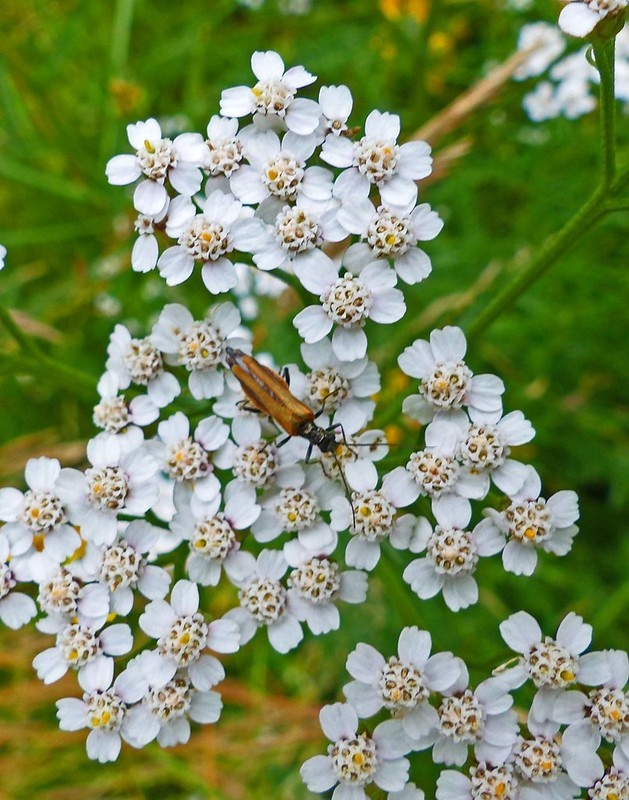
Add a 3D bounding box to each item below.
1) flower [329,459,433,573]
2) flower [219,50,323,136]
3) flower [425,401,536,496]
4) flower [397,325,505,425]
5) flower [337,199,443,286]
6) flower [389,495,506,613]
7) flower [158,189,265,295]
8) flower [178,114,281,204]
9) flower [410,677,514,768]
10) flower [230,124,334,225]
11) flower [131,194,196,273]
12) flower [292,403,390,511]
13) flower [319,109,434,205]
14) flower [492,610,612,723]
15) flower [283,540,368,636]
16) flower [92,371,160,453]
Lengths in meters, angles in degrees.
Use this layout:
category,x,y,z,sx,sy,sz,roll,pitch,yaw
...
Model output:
category,x,y,z,sx,sy,sz,roll,pitch,yaw
flower,0.281,0.602,5.284,0.547,0.240,0.523,1,84,-17
flower,-0.219,-1.615,5.205,0.498,0.192,0.489,-3,79,-5
flower,0.875,0.264,5.065,0.522,0.228,0.481,-13,45,6
flower,0.688,-0.121,4.989,0.505,0.267,0.500,9,90,3
flower,0.373,-0.746,5.187,0.457,0.188,0.452,10,85,-2
flower,0.722,0.811,5.062,0.501,0.229,0.500,8,50,20
flower,-0.522,-0.778,5.190,0.403,0.222,0.557,41,81,11
flower,-0.442,-1.293,5.192,0.411,0.160,0.410,6,77,11
flower,0.786,1.633,4.970,0.456,0.120,0.354,-17,76,-2
flower,-0.159,-1.166,5.159,0.115,0.352,0.357,-17,57,40
flower,-0.823,-0.879,5.250,0.300,0.121,0.413,38,103,10
flower,0.131,0.295,5.236,0.404,0.152,0.558,-45,98,-4
flower,0.327,-1.261,5.157,0.564,0.111,0.508,11,77,4
flower,1.193,1.368,5.143,0.522,0.223,0.539,-31,74,-19
flower,0.071,1.009,5.143,0.429,0.387,0.188,-8,55,41
flower,-1.053,0.068,5.393,0.354,0.145,0.348,19,64,-17
